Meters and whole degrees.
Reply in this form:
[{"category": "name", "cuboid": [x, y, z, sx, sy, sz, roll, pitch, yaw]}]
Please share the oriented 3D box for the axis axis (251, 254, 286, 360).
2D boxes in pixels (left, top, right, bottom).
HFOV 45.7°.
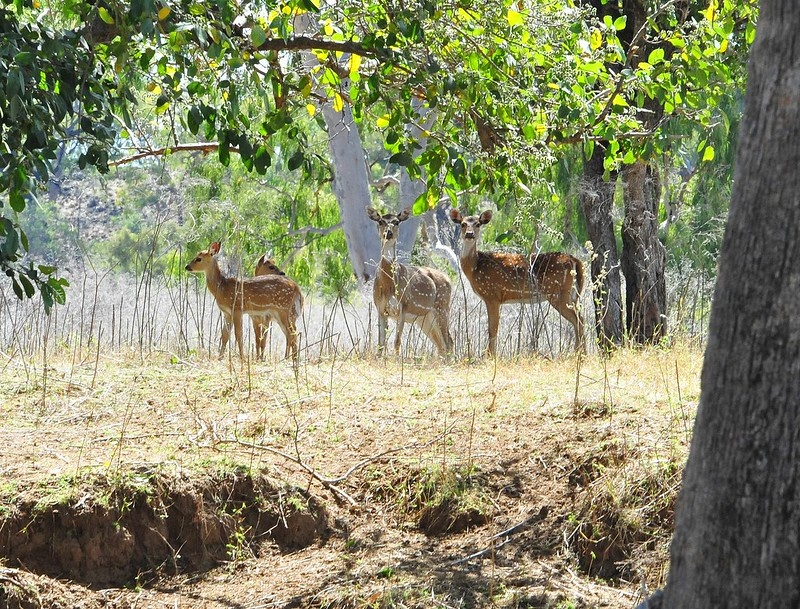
[{"category": "axis axis", "cuboid": [-1.603, -0.009, 12.390, 0.304, 1.038, 1.457, -8, 20, -20]}]
